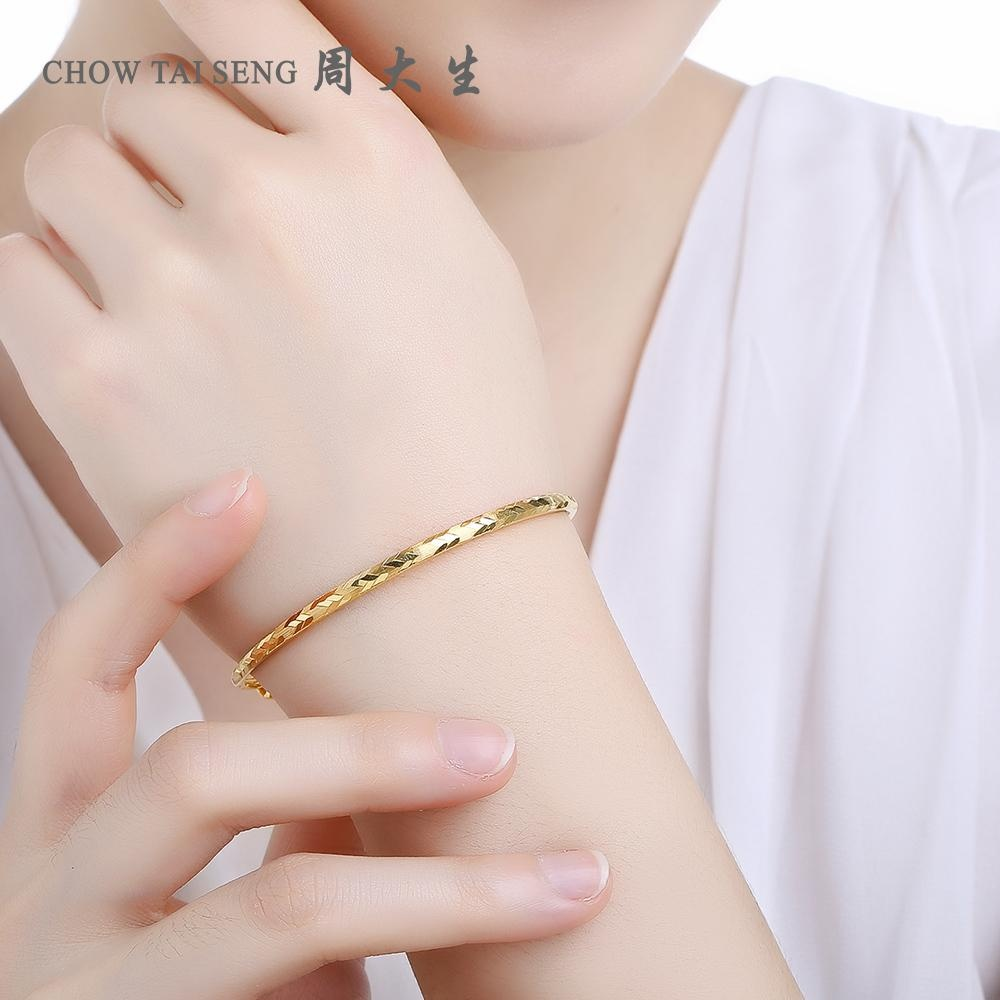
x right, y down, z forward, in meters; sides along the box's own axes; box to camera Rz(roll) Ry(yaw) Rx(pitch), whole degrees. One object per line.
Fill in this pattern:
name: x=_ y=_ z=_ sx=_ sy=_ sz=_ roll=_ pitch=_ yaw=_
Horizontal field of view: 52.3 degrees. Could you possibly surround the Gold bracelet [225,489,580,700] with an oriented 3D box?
Gold bracelet: x=-0.081 y=0.100 z=0.801 sx=0.204 sy=0.181 sz=0.048 roll=-30 pitch=88 yaw=34
